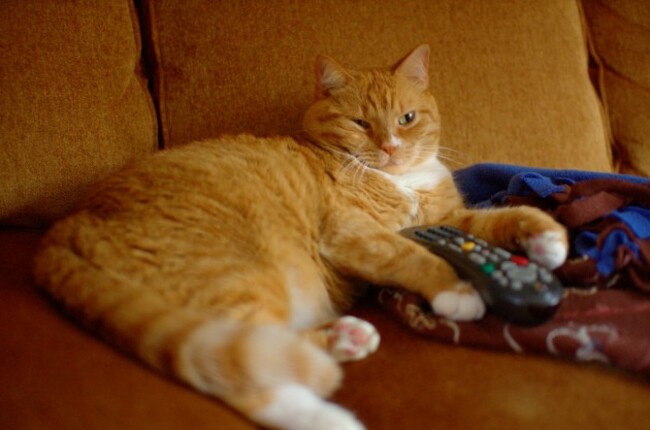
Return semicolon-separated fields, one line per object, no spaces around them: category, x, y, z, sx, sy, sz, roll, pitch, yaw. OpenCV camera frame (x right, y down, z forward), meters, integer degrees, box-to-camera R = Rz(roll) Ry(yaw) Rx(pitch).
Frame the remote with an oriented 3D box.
remote;0.429;0.109;1.582;0.156;0.105;0.399;-20;31;-24
